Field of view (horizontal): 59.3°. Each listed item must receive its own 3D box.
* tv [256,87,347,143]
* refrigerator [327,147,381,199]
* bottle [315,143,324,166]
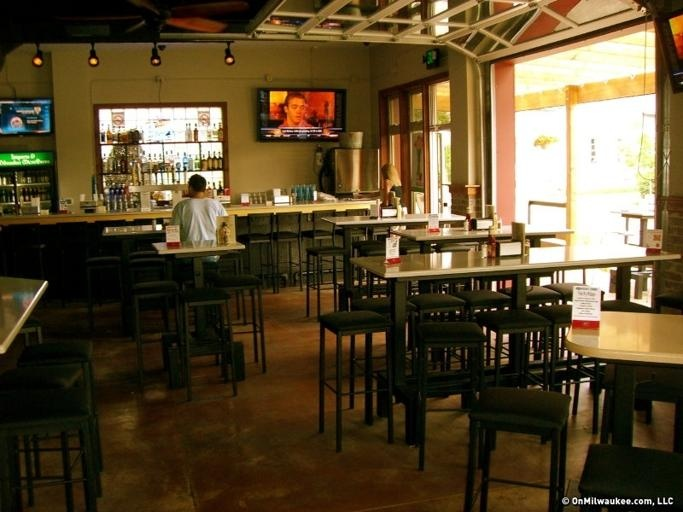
[{"bbox_3d":[-0.879,-2.827,11.822,1.450,0.697,0.177,0,9,-7],"label":"tv"},{"bbox_3d":[0.119,-1.650,11.970,1.144,0.933,1.041,0,4,-8],"label":"refrigerator"},{"bbox_3d":[-0.456,-2.060,12.147,0.169,0.406,0.094,-1,8,-6],"label":"bottle"}]
